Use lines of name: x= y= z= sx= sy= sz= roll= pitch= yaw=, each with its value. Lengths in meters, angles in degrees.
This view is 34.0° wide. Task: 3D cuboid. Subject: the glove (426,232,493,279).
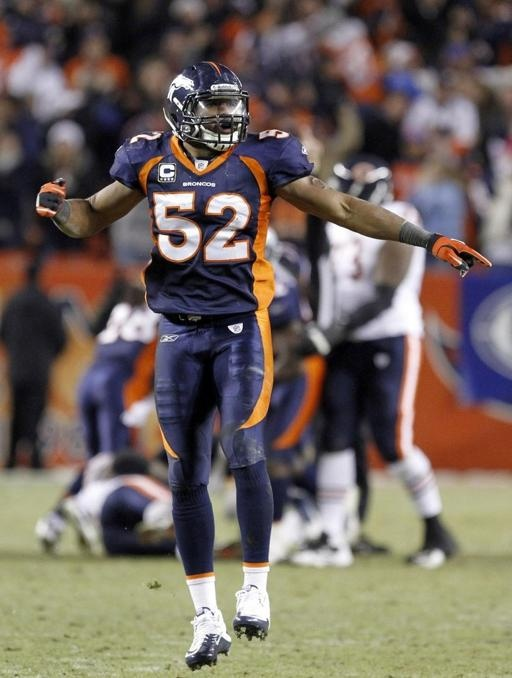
glove: x=0.628 y=-0.251 z=2.553 sx=0.194 sy=0.132 sz=0.270 roll=-1 pitch=9 yaw=-11

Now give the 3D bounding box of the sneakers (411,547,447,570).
sneakers: x=0.862 y=1.108 z=4.189 sx=0.172 sy=0.078 sz=0.073 roll=-9 pitch=-9 yaw=20

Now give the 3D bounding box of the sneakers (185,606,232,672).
sneakers: x=-0.149 y=0.901 z=2.497 sx=0.094 sy=0.127 sz=0.252 roll=-13 pitch=-2 yaw=14

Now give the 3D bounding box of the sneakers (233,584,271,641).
sneakers: x=-0.020 y=0.872 z=2.587 sx=0.103 sy=0.223 sz=0.230 roll=1 pitch=10 yaw=-1

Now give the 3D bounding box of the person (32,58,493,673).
person: x=-0.127 y=0.033 z=2.677 sx=1.102 sy=1.835 sz=0.652 roll=7 pitch=12 yaw=31

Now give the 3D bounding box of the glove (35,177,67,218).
glove: x=-0.666 y=-0.441 z=2.685 sx=0.103 sy=0.144 sz=0.045 roll=-3 pitch=-39 yaw=12

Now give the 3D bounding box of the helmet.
helmet: x=-0.163 y=-0.738 z=2.649 sx=0.282 sy=0.245 sz=0.334 roll=-3 pitch=16 yaw=-19
